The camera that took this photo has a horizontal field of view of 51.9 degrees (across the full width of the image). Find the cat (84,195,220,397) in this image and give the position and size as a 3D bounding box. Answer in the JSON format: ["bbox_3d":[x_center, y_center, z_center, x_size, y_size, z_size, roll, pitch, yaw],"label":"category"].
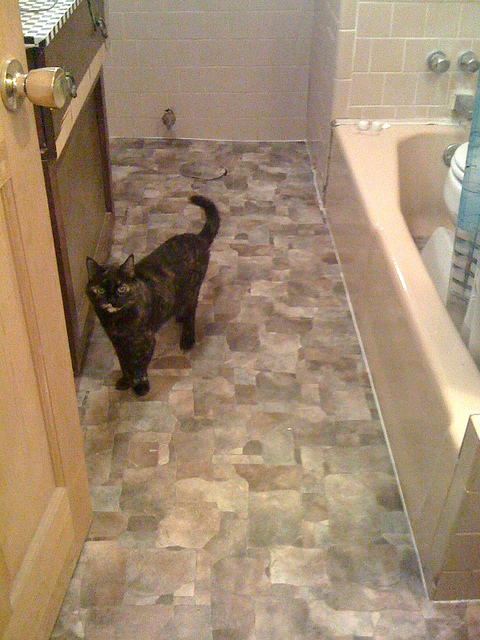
[{"bbox_3d":[-0.261,0.027,1.554,0.345,0.644,0.385,5,31,-6],"label":"cat"}]
